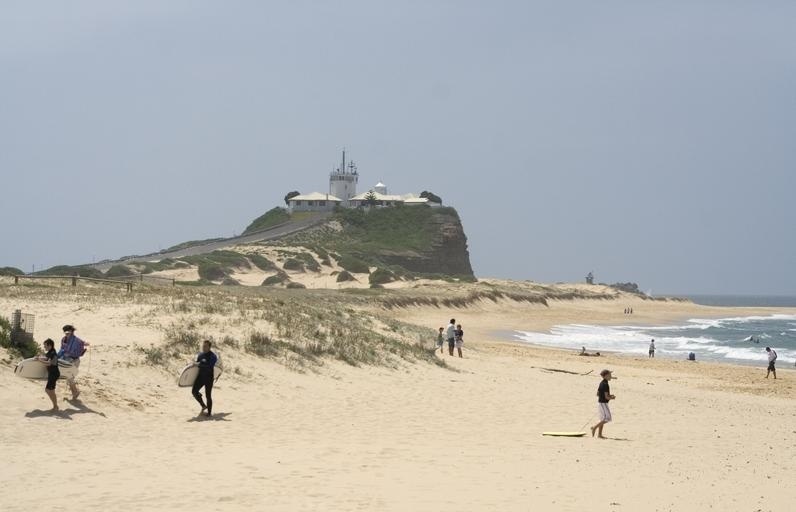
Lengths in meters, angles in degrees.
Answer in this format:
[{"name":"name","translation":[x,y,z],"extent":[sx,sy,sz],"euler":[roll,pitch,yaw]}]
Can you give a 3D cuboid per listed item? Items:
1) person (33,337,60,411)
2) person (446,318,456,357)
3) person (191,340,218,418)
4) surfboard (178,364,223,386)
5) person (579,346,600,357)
[{"name":"person","translation":[-12.261,4.157,38.873],"extent":[0.605,2.517,0.831],"euler":[0,11,-18]},{"name":"person","translation":[2.675,4.219,54.563],"extent":[0.411,1.522,0.975],"euler":[4,11,0]},{"name":"person","translation":[-7.069,4.450,40.111],"extent":[0.776,2.681,0.668],"euler":[2,11,-6]},{"name":"surfboard","translation":[-7.234,4.386,40.298],"extent":[1.284,0.535,0.247],"euler":[2,41,-15]},{"name":"person","translation":[11.188,5.589,64.123],"extent":[0.792,0.401,0.481],"euler":[26,-13,14]}]
